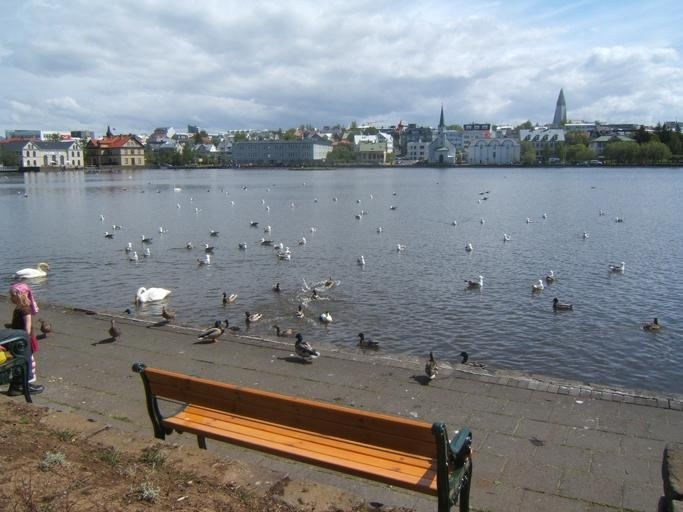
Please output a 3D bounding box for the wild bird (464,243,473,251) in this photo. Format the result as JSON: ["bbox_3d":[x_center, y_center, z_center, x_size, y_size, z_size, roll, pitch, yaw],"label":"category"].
[{"bbox_3d":[8.468,-0.591,40.082,0.456,0.270,0.704,4,8,22],"label":"wild bird"}]

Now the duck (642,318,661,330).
[{"bbox_3d":[11.679,2.514,22.775,0.871,0.539,0.315,-5,3,-27],"label":"duck"}]

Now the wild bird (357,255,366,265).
[{"bbox_3d":[1.178,0.227,35.310,0.532,0.858,1.543,0,1,3],"label":"wild bird"}]

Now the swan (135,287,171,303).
[{"bbox_3d":[-7.954,1.599,25.572,1.369,0.482,1.190,-2,8,-17],"label":"swan"}]

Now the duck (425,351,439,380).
[{"bbox_3d":[2.291,2.634,14.624,0.312,0.428,0.716,2,16,8],"label":"duck"}]

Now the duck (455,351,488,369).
[{"bbox_3d":[3.710,3.014,17.560,0.636,0.357,0.793,4,6,-18],"label":"duck"}]

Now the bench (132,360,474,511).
[{"bbox_3d":[-0.723,2.746,9.498,4.977,1.336,0.551,4,9,22],"label":"bench"}]
